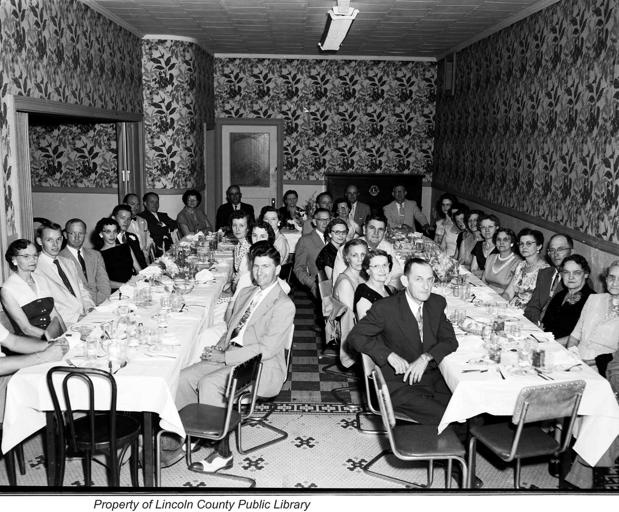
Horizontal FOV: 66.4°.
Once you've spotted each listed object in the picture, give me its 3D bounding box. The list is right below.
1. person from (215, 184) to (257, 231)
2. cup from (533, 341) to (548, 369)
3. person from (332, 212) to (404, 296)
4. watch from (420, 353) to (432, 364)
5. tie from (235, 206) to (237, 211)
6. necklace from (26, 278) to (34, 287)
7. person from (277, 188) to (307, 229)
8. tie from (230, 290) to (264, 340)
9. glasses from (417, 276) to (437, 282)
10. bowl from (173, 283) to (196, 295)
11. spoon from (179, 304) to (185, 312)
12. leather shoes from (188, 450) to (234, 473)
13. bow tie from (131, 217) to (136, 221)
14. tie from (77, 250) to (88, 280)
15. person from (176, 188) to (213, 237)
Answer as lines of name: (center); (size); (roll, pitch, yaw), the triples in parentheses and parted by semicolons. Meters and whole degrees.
person: (-1.323, -0.490, 8.447); (0.738, 1.426, 0.366); (0, -5, -10)
cup: (1.450, 0.630, 2.970); (0.079, 0.156, 0.084); (-1, 12, 0)
person: (0.767, 0.048, 5.408); (0.581, 0.568, 1.026); (-9, 42, 3)
watch: (0.762, 0.669, 3.084); (0.063, 0.051, 0.066); (1, 2, 12)
tie: (-1.314, -0.828, 8.361); (0.074, 0.080, 0.018); (1, -2, 22)
necklace: (-2.202, 0.216, 3.718); (0.010, 0.046, 0.045); (-15, -12, 6)
person: (-0.336, -0.782, 8.396); (0.523, 0.744, 0.303); (4, -12, -24)
tie: (-0.480, 0.470, 3.661); (0.069, 0.378, 0.101); (33, 0, 26)
glasses: (0.795, 0.164, 3.233); (0.078, 0.037, 0.096); (2, 5, -6)
bowl: (-1.127, 0.295, 4.202); (0.105, 0.066, 0.110); (-1, 1, 0)
spoon: (-1.065, 0.439, 3.943); (0.014, 0.117, 0.016); (24, 14, -11)
leather shoes: (-0.647, 1.341, 3.113); (0.269, 0.123, 0.118); (2, 0, -18)
bow tie: (-2.526, -0.523, 6.786); (0.066, 0.032, 0.093); (1, 7, -4)
tie: (-2.360, 0.072, 4.914); (0.049, 0.383, 0.044); (-11, -4, -3)
person: (-2.034, -0.689, 8.143); (0.541, 0.861, 0.482); (-12, 13, -39)
